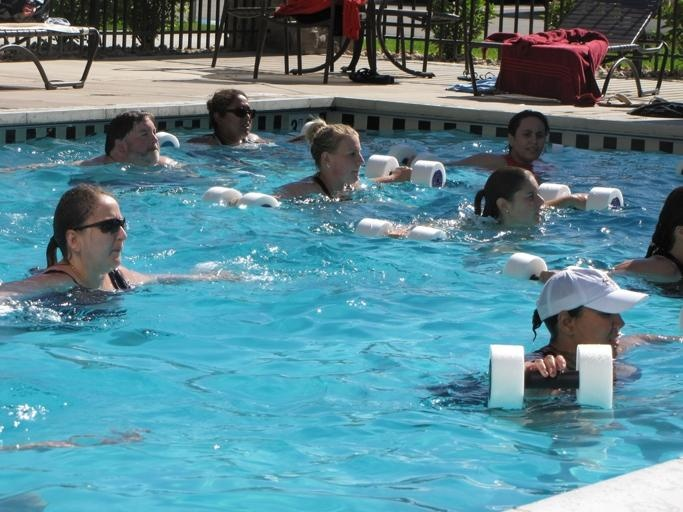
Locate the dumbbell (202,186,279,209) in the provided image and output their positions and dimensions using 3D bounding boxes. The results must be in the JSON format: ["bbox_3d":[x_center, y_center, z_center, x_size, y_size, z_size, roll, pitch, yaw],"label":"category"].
[{"bbox_3d":[-0.937,-0.549,6.531,0.652,0.186,0.251,3,10,26],"label":"dumbbell"}]

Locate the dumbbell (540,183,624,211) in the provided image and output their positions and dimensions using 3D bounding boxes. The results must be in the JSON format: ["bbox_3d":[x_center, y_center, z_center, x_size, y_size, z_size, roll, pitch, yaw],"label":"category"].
[{"bbox_3d":[2.367,-0.593,6.944,0.882,0.254,0.366,5,11,29],"label":"dumbbell"}]

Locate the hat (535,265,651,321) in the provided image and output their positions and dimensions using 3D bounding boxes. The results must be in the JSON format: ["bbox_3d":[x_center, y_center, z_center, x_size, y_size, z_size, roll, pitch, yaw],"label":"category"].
[{"bbox_3d":[1.202,0.210,3.466,0.503,0.272,0.273,4,10,21],"label":"hat"}]

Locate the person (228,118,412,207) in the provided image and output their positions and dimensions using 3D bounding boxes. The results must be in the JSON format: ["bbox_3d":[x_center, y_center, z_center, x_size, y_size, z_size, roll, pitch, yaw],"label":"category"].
[{"bbox_3d":[-0.207,-0.898,6.713,0.804,0.735,0.372,1,11,-1],"label":"person"}]

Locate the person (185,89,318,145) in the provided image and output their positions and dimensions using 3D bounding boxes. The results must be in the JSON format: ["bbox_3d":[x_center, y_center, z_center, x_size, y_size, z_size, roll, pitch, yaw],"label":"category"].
[{"bbox_3d":[-1.209,-1.808,8.831,1.646,0.599,0.848,-11,13,-42],"label":"person"}]

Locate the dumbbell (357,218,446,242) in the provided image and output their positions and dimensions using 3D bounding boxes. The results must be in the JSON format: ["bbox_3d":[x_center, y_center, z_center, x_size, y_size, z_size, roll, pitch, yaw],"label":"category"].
[{"bbox_3d":[0.502,-0.224,5.992,0.776,0.167,0.283,1,8,4],"label":"dumbbell"}]

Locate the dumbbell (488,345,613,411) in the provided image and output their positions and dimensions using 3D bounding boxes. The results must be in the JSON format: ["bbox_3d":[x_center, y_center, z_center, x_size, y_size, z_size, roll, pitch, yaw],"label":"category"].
[{"bbox_3d":[0.937,0.566,3.215,0.695,0.268,0.321,0,-16,4],"label":"dumbbell"}]
